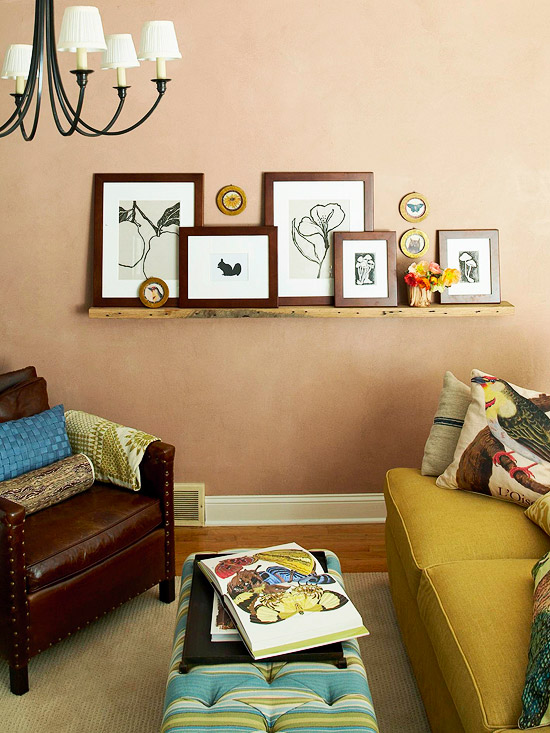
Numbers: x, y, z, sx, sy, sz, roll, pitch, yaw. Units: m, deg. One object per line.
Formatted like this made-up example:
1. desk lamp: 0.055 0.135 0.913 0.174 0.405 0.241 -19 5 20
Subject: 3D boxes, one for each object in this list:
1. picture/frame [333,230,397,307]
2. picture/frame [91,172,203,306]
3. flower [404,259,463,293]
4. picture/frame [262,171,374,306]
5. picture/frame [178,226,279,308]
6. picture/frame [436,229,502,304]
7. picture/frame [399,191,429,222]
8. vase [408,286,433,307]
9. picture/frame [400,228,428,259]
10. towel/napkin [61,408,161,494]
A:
1. picture/frame: 0.412 -0.464 2.821 0.349 0.422 0.032 -1 0 -3
2. picture/frame: -0.592 -0.622 2.821 0.622 0.751 0.050 0 1 -1
3. flower: 0.709 -0.413 2.743 0.164 0.102 0.165 20 55 26
4. picture/frame: 0.199 -0.632 2.826 0.627 0.730 0.053 -1 3 -4
5. picture/frame: -0.220 -0.471 2.815 0.377 0.314 0.031 -1 6 0
6. picture/frame: 0.906 -0.475 2.852 0.349 0.418 0.016 -1 -2 -2
7. picture/frame: 0.652 -0.767 2.848 0.136 0.137 0.018 -2 16 0
8. vase: 0.666 -0.321 2.788 0.094 0.090 0.094 -2 -1 18
9. picture/frame: 0.654 -0.595 2.865 0.136 0.147 0.015 -2 10 -1
10. towel/napkin: -0.664 0.333 2.445 0.365 0.234 0.123 14 4 30
